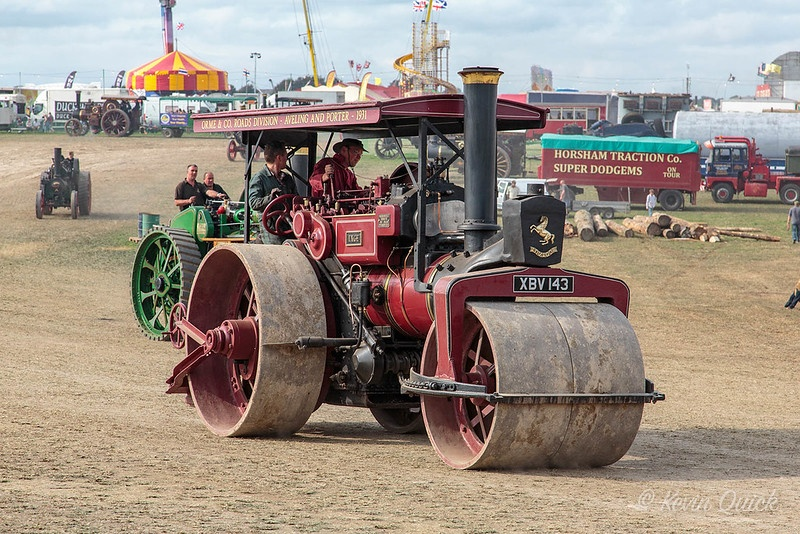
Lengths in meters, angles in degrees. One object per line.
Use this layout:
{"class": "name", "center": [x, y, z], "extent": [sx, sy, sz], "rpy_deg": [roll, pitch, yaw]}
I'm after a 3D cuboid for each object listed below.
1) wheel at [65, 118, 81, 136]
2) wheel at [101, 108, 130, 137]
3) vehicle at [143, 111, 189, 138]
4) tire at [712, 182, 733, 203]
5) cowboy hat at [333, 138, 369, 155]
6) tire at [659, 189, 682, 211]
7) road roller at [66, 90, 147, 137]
{"class": "wheel", "center": [-14.259, -6.174, 64.314], "extent": [1.010, 1.052, 0.394], "rpy_deg": [1, 0, 29]}
{"class": "wheel", "center": [-12.264, -6.290, 63.475], "extent": [1.199, 1.247, 0.203], "rpy_deg": [-1, 3, -4]}
{"class": "vehicle", "center": [-10.315, -6.429, 65.316], "extent": [2.071, 1.180, 1.167], "rpy_deg": [-1, 7, 4]}
{"class": "tire", "center": [10.752, -2.556, 49.045], "extent": [0.542, 0.561, 0.196], "rpy_deg": [-12, 2, 0]}
{"class": "cowboy hat", "center": [-0.745, -1.902, 22.462], "extent": [0.306, 0.100, 0.272], "rpy_deg": [8, -7, -35]}
{"class": "tire", "center": [8.626, -2.158, 46.778], "extent": [0.671, 0.698, 0.242], "rpy_deg": [1, 0, -3]}
{"class": "road roller", "center": [-13.090, -6.707, 64.271], "extent": [3.241, 1.961, 1.719], "rpy_deg": [4, 6, 11]}
